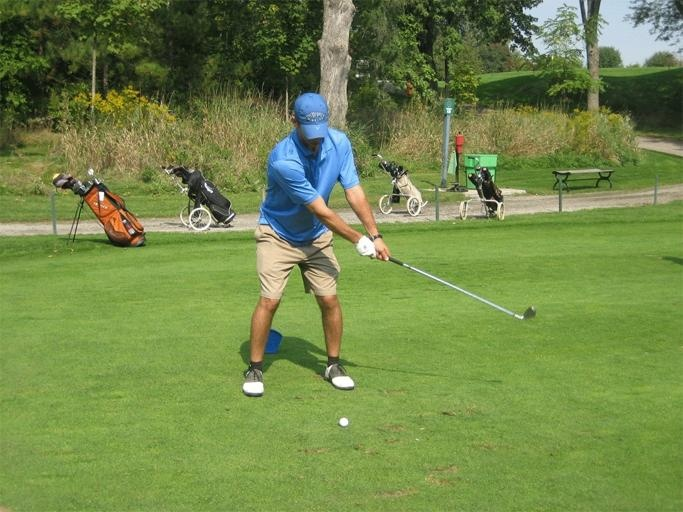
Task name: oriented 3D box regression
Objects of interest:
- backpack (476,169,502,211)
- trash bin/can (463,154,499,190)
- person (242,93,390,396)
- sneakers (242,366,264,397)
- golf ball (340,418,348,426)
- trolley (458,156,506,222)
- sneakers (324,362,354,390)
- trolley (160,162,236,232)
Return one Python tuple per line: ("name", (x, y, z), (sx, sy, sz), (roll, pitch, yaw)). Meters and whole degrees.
("backpack", (3.204, -1.450, 19.912), (0.463, 0.950, 0.759), (-4, 5, 8))
("trash bin/can", (3.489, -2.192, 24.334), (0.834, 0.932, 1.035), (0, 13, 13))
("person", (-0.169, -0.111, 8.559), (1.530, 2.790, 1.135), (9, 16, 28))
("sneakers", (-0.797, 1.111, 8.286), (0.196, 0.230, 0.265), (-5, 5, -6))
("golf ball", (0.024, 1.386, 7.800), (0.077, 0.057, 0.133), (-4, 5, 2))
("trolley", (3.101, -1.407, 20.109), (0.806, 1.264, 1.107), (-5, -2, 26))
("sneakers", (-0.015, 1.082, 8.412), (0.263, 0.217, 0.247), (-5, 5, -1))
("trolley", (-2.897, -1.235, 18.982), (1.432, 1.575, 1.455), (3, 13, -6))
